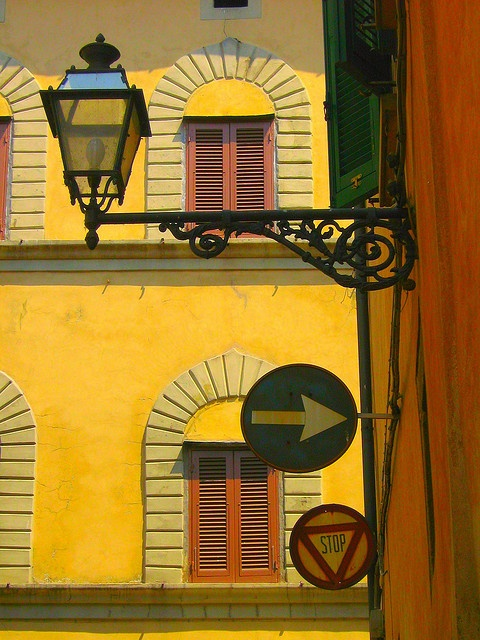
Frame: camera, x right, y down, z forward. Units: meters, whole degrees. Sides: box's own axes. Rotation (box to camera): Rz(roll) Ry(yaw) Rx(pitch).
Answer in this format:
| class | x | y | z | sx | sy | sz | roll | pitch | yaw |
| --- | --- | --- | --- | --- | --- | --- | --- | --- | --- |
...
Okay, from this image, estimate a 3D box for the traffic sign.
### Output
| class | x | y | z | sx | sy | sz | roll | pitch | yaw |
| --- | --- | --- | --- | --- | --- | --- | --- | --- | --- |
| traffic sign | 0.652 | 1.594 | 12.991 | 0.701 | 0.952 | 0.101 | 4 | 3 | 31 |
